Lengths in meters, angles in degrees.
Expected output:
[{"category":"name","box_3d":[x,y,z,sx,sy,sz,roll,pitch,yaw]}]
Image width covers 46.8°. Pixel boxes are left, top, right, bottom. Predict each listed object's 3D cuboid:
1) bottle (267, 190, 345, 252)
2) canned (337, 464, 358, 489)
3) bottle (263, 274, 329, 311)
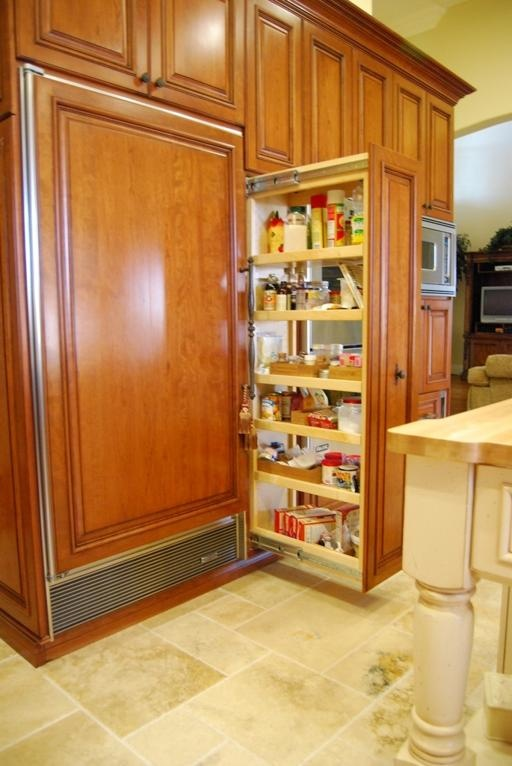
[{"category":"bottle","box_3d":[0.199,-0.617,2.301,0.281,0.196,0.212,3,13,24]},{"category":"canned","box_3d":[0.336,0.345,2.168,0.060,0.060,0.086,0,10,-1]},{"category":"bottle","box_3d":[0.148,-0.361,2.404,0.218,0.088,0.155,7,12,40]}]
